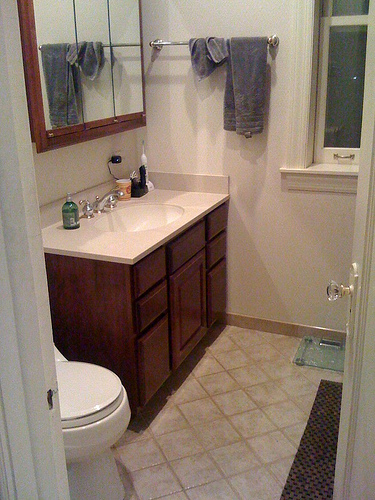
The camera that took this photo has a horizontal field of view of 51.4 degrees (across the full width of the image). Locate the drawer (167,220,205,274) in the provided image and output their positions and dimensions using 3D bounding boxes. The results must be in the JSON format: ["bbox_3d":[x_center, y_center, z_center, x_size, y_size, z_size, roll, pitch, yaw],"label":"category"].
[{"bbox_3d":[0.003,-0.027,2.103,0.025,0.169,0.448,6,23,25],"label":"drawer"}]

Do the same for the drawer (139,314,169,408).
[{"bbox_3d":[-0.158,0.534,1.908,0.135,0.419,0.186,6,20,12],"label":"drawer"}]

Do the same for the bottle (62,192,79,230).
[{"bbox_3d":[-0.592,-0.198,1.948,0.084,0.182,0.084,-3,18,1],"label":"bottle"}]

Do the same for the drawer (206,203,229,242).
[{"bbox_3d":[0.183,-0.171,2.418,0.159,0.145,0.256,6,26,27],"label":"drawer"}]

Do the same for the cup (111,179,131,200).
[{"bbox_3d":[-0.399,-0.357,2.371,0.100,0.118,0.219,-4,21,-3],"label":"cup"}]

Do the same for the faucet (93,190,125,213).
[{"bbox_3d":[-0.434,-0.273,2.195,0.188,0.154,0.086,-3,13,-11],"label":"faucet"}]
